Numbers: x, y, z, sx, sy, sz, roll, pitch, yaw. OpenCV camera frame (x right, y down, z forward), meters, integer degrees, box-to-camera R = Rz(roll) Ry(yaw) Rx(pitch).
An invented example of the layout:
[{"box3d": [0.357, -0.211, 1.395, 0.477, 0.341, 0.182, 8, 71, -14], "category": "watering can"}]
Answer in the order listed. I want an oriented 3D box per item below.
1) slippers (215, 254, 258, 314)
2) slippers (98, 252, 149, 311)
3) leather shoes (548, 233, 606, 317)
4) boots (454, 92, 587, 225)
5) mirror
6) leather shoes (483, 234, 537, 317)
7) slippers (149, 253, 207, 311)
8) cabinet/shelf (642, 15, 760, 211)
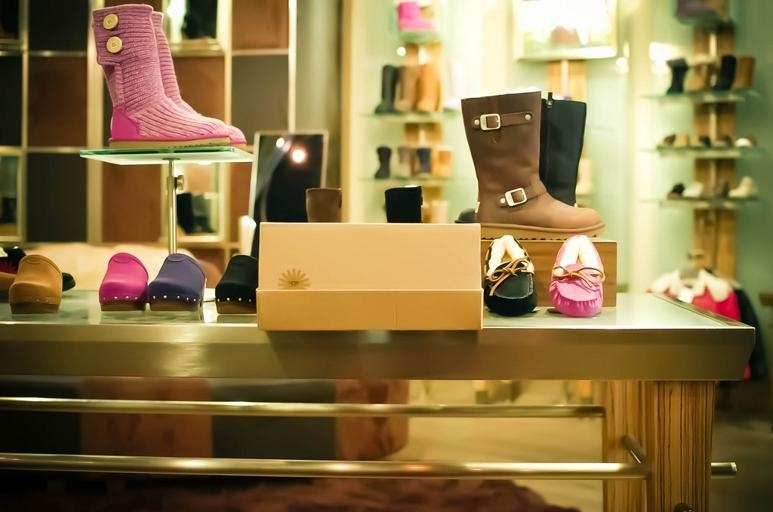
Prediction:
[{"box3d": [-0.475, 0.085, 2.519, 0.091, 0.196, 0.288, -11, -2, 12], "category": "slippers"}, {"box3d": [-0.842, 0.087, 2.463, 0.106, 0.134, 0.233, 1, -5, -8], "category": "slippers"}, {"box3d": [0.630, 0.054, 2.522, 0.170, 0.098, 0.356, 3, 38, 11], "category": "leather shoes"}, {"box3d": [0.580, -0.329, 2.762, 0.442, 0.533, 0.553, 2, 5, 44], "category": "boots"}, {"box3d": [-0.481, -0.332, 3.680, 0.347, 0.666, 0.047, -6, 41, -21], "category": "mirror"}, {"box3d": [0.406, 0.047, 2.521, 0.164, 0.103, 0.336, -2, 43, 4], "category": "leather shoes"}, {"box3d": [-0.707, 0.089, 2.604, 0.169, 0.193, 0.422, 1, 1, -10], "category": "slippers"}, {"box3d": [1.850, -0.834, 4.299, 0.615, 1.164, 0.481, 5, 18, 36], "category": "cabinet/shelf"}]
